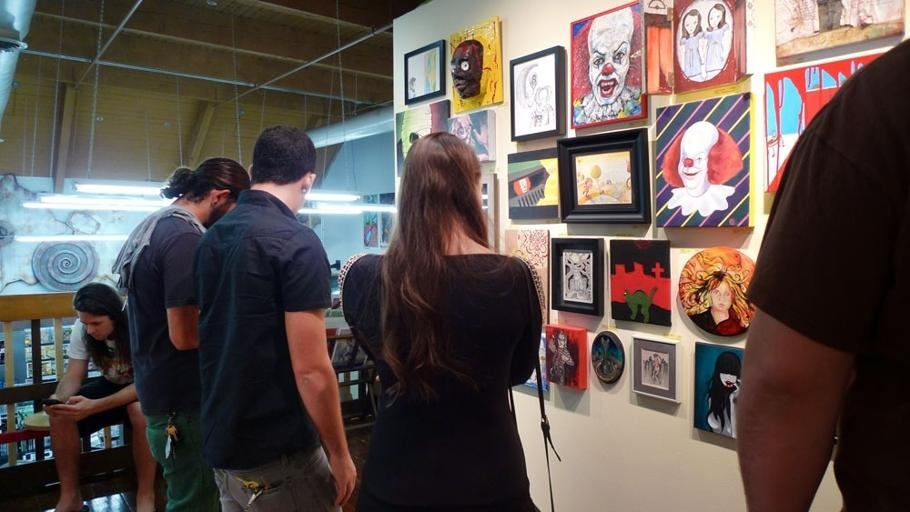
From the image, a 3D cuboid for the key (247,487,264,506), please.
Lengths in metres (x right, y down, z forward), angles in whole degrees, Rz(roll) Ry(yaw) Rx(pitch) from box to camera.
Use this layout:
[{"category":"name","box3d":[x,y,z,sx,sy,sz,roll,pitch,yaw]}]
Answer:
[{"category":"key","box3d":[-0.983,1.183,2.936,0.038,0.121,0.046,31,6,20]}]

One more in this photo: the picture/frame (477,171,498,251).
[{"category":"picture/frame","box3d":[0.176,-0.324,3.805,0.053,0.491,0.267,4,0,26]}]

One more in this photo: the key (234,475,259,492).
[{"category":"key","box3d":[-1.028,1.125,2.935,0.096,0.065,0.036,3,22,33]}]

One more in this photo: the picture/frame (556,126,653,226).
[{"category":"picture/frame","box3d":[0.871,-0.453,3.413,0.570,0.554,0.079,0,-1,38]}]

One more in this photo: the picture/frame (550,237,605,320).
[{"category":"picture/frame","box3d":[0.733,0.127,3.528,0.454,0.631,0.088,-3,-4,43]}]

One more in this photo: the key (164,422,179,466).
[{"category":"key","box3d":[-1.567,1.025,3.287,0.072,0.204,0.037,-1,2,-4]}]

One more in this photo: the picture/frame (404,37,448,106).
[{"category":"picture/frame","box3d":[-0.198,-1.279,4.182,0.035,0.514,0.519,2,-2,-43]}]
